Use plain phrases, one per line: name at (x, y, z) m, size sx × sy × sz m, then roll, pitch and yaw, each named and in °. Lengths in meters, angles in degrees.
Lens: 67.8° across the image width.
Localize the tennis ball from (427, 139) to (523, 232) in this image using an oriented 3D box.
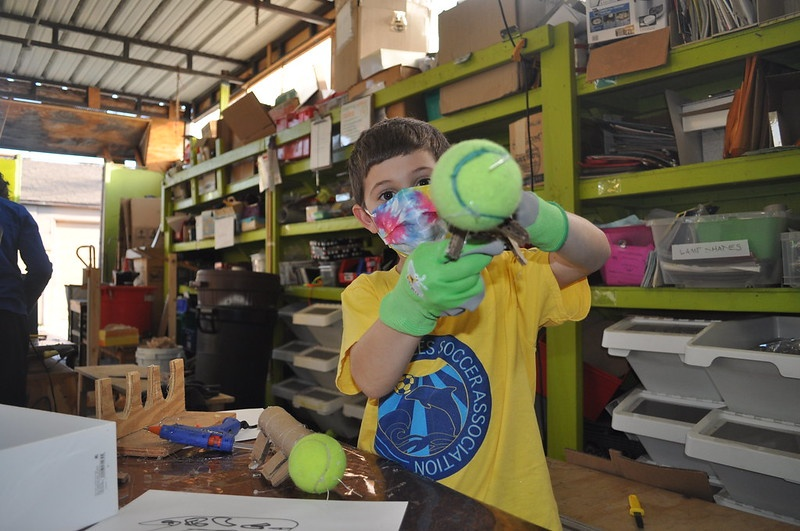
tennis ball at (0.194, -0.196, 1.673) m, size 0.254 × 0.246 × 0.247 m, roll 4°, pitch -30°, yaw 2°

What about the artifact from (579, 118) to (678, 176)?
artifact at (1.035, -0.534, 2.731) m, size 0.340 × 0.120 × 0.339 m, roll 1°, pitch 6°, yaw 15°

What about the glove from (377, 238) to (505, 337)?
glove at (0.131, 0.041, 1.819) m, size 0.339 × 0.227 × 0.171 m, roll -28°, pitch 5°, yaw 16°

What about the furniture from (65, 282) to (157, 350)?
furniture at (-2.482, 0.353, 5.305) m, size 0.831 × 0.775 × 0.701 m, roll 0°, pitch -2°, yaw -40°

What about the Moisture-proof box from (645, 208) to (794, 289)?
Moisture-proof box at (1.288, -0.042, 2.419) m, size 0.412 × 0.236 × 0.290 m, roll -7°, pitch -10°, yaw 36°

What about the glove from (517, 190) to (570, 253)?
glove at (0.431, -0.133, 1.778) m, size 0.216 × 0.168 × 0.068 m, roll -2°, pitch -1°, yaw -41°

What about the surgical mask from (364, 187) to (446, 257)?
surgical mask at (0.031, -0.139, 1.934) m, size 0.205 × 0.131 × 0.215 m, roll -18°, pitch 8°, yaw 3°

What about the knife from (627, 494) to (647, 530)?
knife at (0.919, 0.953, 2.303) m, size 0.059 × 0.120 × 0.151 m, roll -3°, pitch -1°, yaw 20°

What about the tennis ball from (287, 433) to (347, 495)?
tennis ball at (-0.240, 0.570, 1.766) m, size 0.156 × 0.156 × 0.156 m, roll 5°, pitch -5°, yaw 0°
